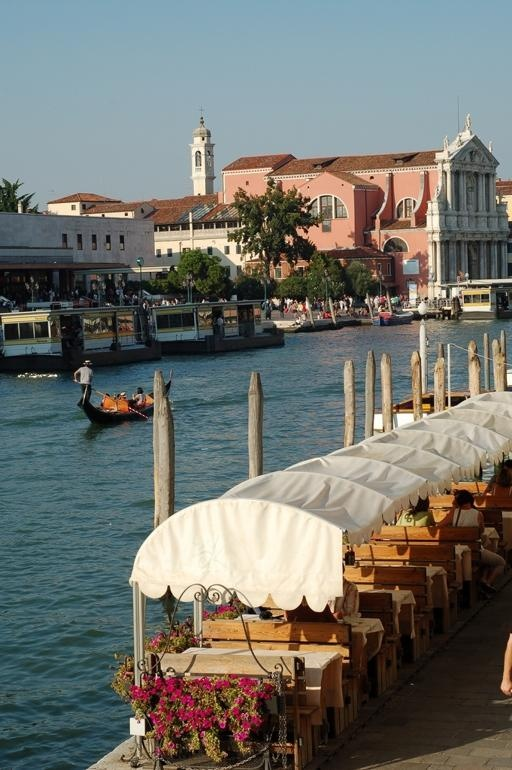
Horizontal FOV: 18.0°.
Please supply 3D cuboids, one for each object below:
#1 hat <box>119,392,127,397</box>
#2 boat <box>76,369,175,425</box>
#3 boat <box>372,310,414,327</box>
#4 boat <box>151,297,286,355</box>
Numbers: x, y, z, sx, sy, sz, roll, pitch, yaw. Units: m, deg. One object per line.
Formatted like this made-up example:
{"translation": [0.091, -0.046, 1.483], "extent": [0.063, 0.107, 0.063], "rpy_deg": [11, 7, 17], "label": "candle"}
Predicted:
{"translation": [-3.577, 0.277, 42.926], "extent": [0.205, 0.122, 0.316], "rpy_deg": [-1, 2, -3], "label": "hat"}
{"translation": [-3.656, 0.697, 41.892], "extent": [2.817, 1.104, 0.647], "rpy_deg": [21, -1, 45], "label": "boat"}
{"translation": [8.320, -3.832, 95.447], "extent": [0.986, 0.827, 4.380], "rpy_deg": [2, 3, 20], "label": "boat"}
{"translation": [-2.250, -2.448, 70.981], "extent": [1.744, 2.246, 9.257], "rpy_deg": [-3, 2, 24], "label": "boat"}
